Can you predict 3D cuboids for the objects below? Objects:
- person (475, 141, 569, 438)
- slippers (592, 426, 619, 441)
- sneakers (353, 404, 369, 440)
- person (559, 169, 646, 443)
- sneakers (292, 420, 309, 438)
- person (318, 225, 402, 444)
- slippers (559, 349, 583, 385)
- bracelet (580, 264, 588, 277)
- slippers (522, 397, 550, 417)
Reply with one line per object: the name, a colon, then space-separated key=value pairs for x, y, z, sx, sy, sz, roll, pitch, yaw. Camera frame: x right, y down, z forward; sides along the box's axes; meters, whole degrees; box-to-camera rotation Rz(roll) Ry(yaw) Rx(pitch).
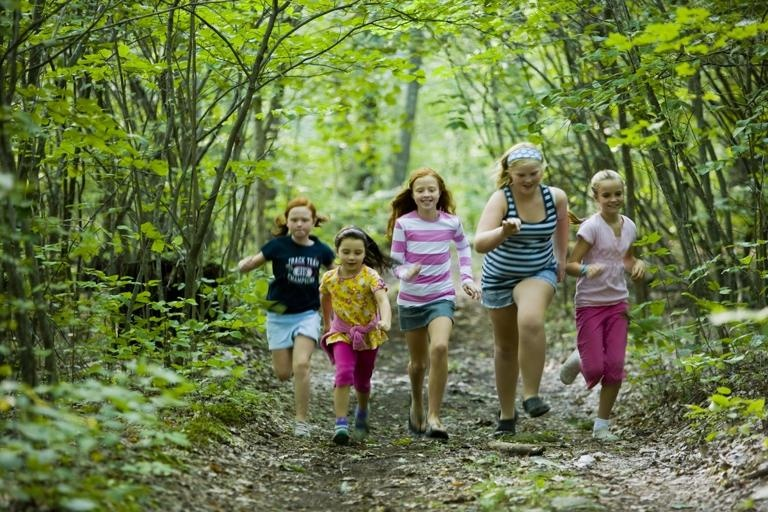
person: x=1.047 y=0.282 z=7.809 sx=0.688 sy=2.316 sz=0.681 roll=3 pitch=6 yaw=10
slippers: x=1.710 y=1.387 z=7.717 sx=0.090 sy=0.062 sz=0.155 roll=-2 pitch=-3 yaw=-43
sneakers: x=-0.186 y=1.302 z=7.818 sx=0.096 sy=0.276 sz=0.195 roll=1 pitch=4 yaw=-1
person: x=1.706 y=0.372 z=7.822 sx=0.589 sy=2.071 sz=0.484 roll=4 pitch=6 yaw=14
sneakers: x=-0.647 y=1.355 z=7.774 sx=0.118 sy=0.122 sz=0.090 roll=1 pitch=6 yaw=-6
person: x=-0.244 y=0.609 z=7.808 sx=0.511 sy=1.645 sz=0.665 roll=1 pitch=6 yaw=-10
slippers: x=1.506 y=0.899 z=8.065 sx=0.162 sy=0.301 sz=0.111 roll=37 pitch=30 yaw=28
bracelet: x=1.535 y=0.114 z=7.698 sx=0.028 sy=0.075 sz=0.074 roll=8 pitch=18 yaw=18
slippers: x=1.148 y=1.179 z=7.730 sx=0.122 sy=0.092 sz=0.306 roll=-11 pitch=-5 yaw=-10
